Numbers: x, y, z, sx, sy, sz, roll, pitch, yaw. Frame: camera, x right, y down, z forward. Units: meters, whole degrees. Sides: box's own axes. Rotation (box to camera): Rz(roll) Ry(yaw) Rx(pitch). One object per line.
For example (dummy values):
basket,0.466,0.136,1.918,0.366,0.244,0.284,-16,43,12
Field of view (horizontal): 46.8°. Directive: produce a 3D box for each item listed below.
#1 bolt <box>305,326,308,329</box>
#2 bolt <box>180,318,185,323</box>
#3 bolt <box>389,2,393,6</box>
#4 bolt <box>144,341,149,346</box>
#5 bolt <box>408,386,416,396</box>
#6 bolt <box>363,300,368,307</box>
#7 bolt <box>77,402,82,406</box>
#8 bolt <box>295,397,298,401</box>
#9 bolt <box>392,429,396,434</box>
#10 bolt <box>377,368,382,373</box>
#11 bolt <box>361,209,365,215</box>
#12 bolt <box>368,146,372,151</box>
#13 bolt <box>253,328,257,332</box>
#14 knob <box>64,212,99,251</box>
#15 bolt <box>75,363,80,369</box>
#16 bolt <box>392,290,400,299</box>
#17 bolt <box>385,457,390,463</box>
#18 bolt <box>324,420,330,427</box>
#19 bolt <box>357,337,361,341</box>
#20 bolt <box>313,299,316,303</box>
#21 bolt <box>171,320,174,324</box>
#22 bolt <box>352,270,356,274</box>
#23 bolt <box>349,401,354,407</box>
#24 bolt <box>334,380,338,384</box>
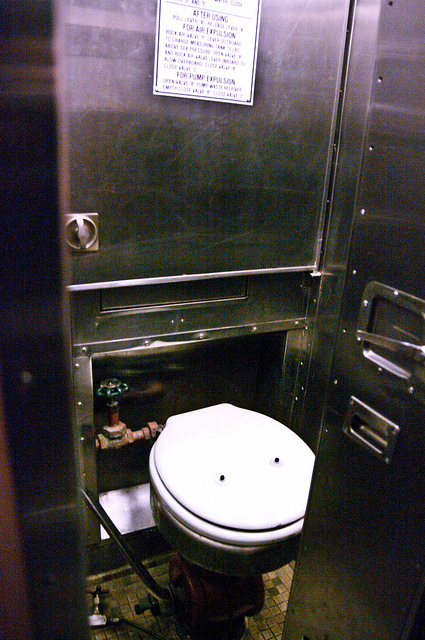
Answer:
bolt,0.288,0.022,1.509,0.009,0.009,0.002,0,21,-8
bolt,-0.078,0.001,1.278,0.008,0.013,0.003,8,-5,-35
bolt,0.234,-0.414,0.645,0.002,0.004,0.007,-1,24,-9
bolt,-0.169,0.058,1.252,0.012,0.013,0.003,-1,5,-41
bolt,0.287,0.102,0.708,0.002,0.014,0.012,-12,27,-33
bolt,0.238,-0.026,0.767,0.005,0.009,0.008,-6,55,6
bolt,-0.328,0.204,1.210,0.006,0.010,0.003,0,13,-20
bolt,0.271,0.251,1.583,0.010,0.012,0.003,4,4,23
bolt,0.276,0.168,0.747,0.001,0.007,0.007,-9,25,-27
bolt,0.258,0.078,0.759,0.001,0.010,0.009,-9,25,-27
bolt,0.227,-0.163,0.742,0.001,0.008,0.008,-7,25,-24
bolt,0.230,-0.249,0.714,0.003,0.004,0.007,11,-22,-1
bolt,0.122,0.026,1.423,0.012,0.008,0.009,-6,-8,-3
knob,-0.272,-0.181,1.035,0.064,0.086,0.052,-2,22,-13
bolt,-0.323,0.109,1.173,0.011,0.015,0.004,-10,24,-29
bolt,0.263,-0.037,0.706,0.001,0.012,0.012,-7,25,-24
bolt,0.273,0.218,0.769,0.001,0.010,0.009,-6,24,-22
bolt,0.207,0.185,0.888,0.002,0.015,0.016,-7,25,-23
bolt,0.235,0.031,0.788,0.001,0.006,0.008,-8,26,-25
bolt,0.304,-0.059,1.466,0.009,0.010,0.002,-9,11,-30
bolt,-0.103,0.004,1.265,0.007,0.011,0.001,-12,25,-33
bolt,0.226,-0.077,0.782,0.001,0.007,0.006,-5,24,-20
bolt,0.233,0.140,0.823,0.001,0.013,0.011,-6,24,-22
bolt,0.214,0.106,0.855,0.007,0.008,0.002,-3,-4,34
